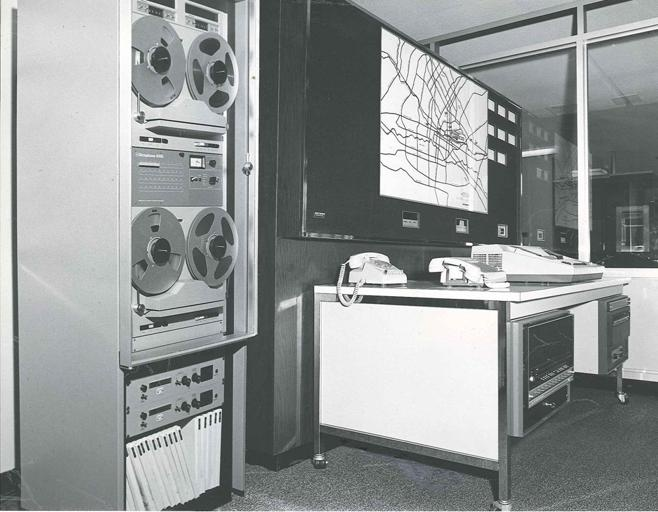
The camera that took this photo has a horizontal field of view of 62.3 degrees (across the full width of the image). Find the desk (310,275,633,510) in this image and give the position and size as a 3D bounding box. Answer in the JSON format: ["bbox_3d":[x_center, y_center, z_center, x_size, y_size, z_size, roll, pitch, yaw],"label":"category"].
[{"bbox_3d":[0.770,0.618,2.877,1.690,1.063,0.955,-2,4,-10],"label":"desk"}]

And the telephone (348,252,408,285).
[{"bbox_3d":[0.250,0.061,2.988,0.249,0.166,0.308,3,5,24],"label":"telephone"}]

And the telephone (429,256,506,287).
[{"bbox_3d":[0.726,0.109,2.835,0.260,0.120,0.192,-3,-3,34],"label":"telephone"}]
